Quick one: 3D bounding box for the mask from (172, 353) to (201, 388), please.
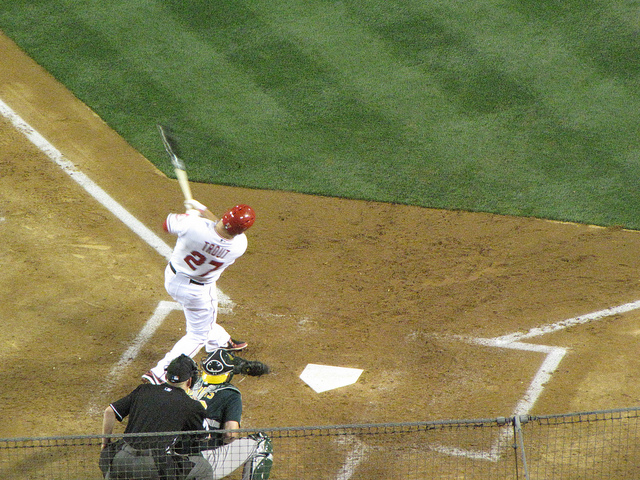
[{"bbox_3d":[-2.019,2.033,24.934,0.551,0.334,0.467,11,99,8],"label":"mask"}]
